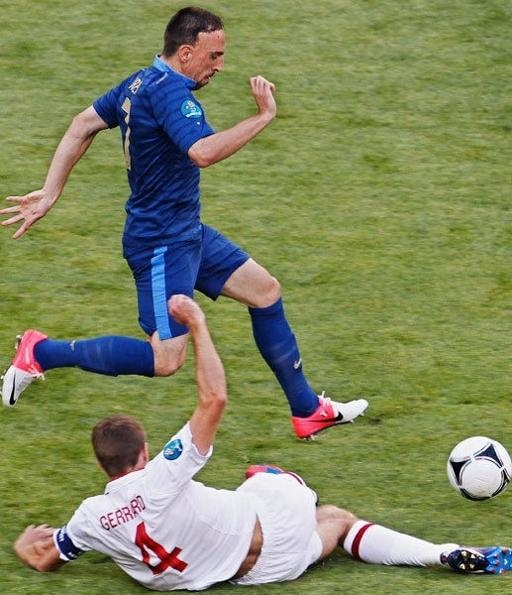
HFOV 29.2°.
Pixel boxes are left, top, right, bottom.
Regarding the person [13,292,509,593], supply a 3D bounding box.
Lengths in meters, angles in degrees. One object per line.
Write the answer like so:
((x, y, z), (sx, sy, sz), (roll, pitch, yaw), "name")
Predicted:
((0.145, 0.566, 3.750), (1.968, 0.806, 0.928), (-1, 3, -17), "person")

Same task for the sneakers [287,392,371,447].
((0.315, 0.530, 4.434), (0.424, 0.159, 0.153), (-20, 18, -13), "sneakers")
